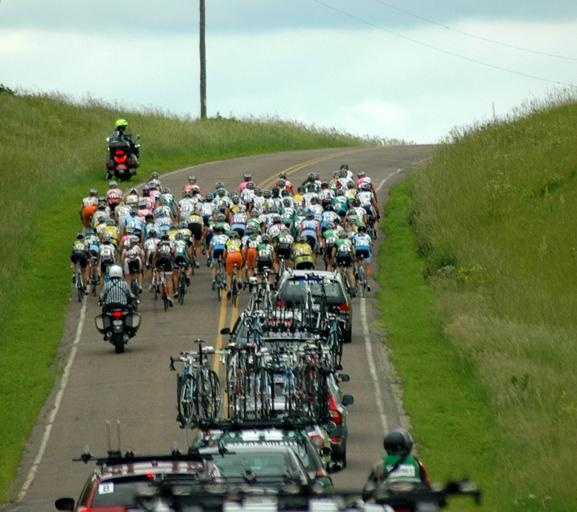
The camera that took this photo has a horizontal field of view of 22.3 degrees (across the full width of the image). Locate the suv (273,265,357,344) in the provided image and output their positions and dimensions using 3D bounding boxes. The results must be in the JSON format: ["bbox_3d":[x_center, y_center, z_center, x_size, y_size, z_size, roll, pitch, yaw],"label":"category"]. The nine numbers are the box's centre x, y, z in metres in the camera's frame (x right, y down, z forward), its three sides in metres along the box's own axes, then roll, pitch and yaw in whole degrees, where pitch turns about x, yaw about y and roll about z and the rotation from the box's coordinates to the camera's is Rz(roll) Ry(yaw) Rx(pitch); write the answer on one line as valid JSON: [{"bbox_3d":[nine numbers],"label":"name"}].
[{"bbox_3d":[0.583,1.123,32.962,1.251,1.228,3.035,1,8,-1],"label":"suv"}]

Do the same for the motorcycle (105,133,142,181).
[{"bbox_3d":[-6.417,-3.920,57.113,1.141,2.313,1.375,-5,13,-20],"label":"motorcycle"}]

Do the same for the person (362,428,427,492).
[{"bbox_3d":[1.763,3.272,22.873,0.631,1.196,0.450,2,-3,-13],"label":"person"}]

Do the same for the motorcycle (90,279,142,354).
[{"bbox_3d":[-4.103,1.491,35.155,1.011,1.829,0.506,-2,12,-8],"label":"motorcycle"}]
